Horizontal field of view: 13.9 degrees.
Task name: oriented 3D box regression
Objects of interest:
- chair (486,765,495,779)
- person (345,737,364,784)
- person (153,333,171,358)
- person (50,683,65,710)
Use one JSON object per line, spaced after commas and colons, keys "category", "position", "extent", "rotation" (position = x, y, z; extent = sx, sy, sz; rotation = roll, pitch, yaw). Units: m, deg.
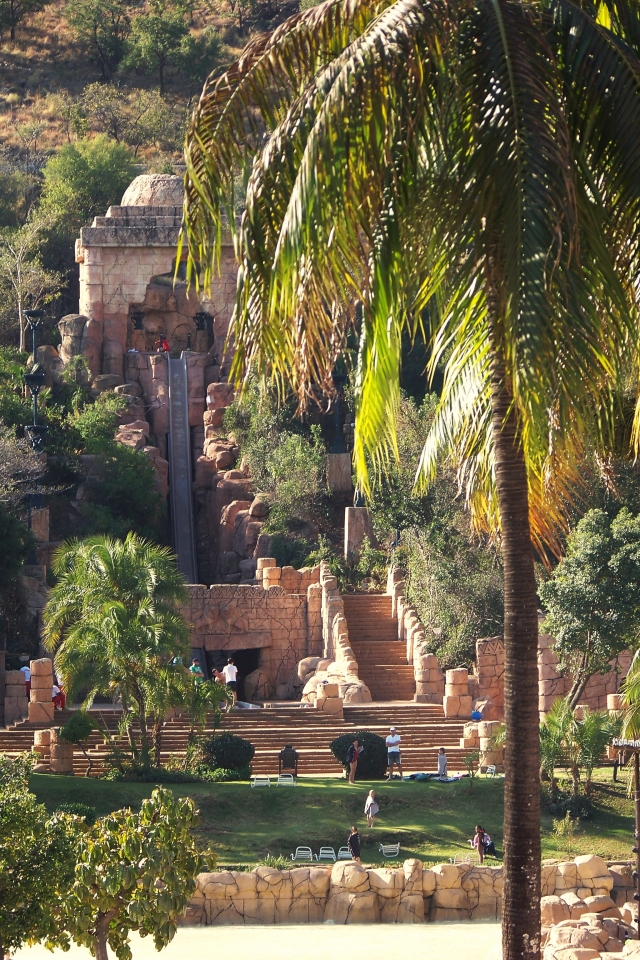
{"category": "chair", "position": [2.570, 4.334, 39.514], "extent": [0.084, 0.233, 0.133], "rotation": [-2, -13, 11]}
{"category": "person", "position": [0.502, 4.127, 38.983], "extent": [0.244, 0.550, 0.896], "rotation": [-1, 2, 1]}
{"category": "person", "position": [-4.036, -3.529, 67.059], "extent": [0.437, 0.544, 1.546], "rotation": [-1, 2, -4]}
{"category": "person", "position": [-4.401, 3.590, 44.143], "extent": [0.204, 0.444, 1.328], "rotation": [-1, 2, -6]}
